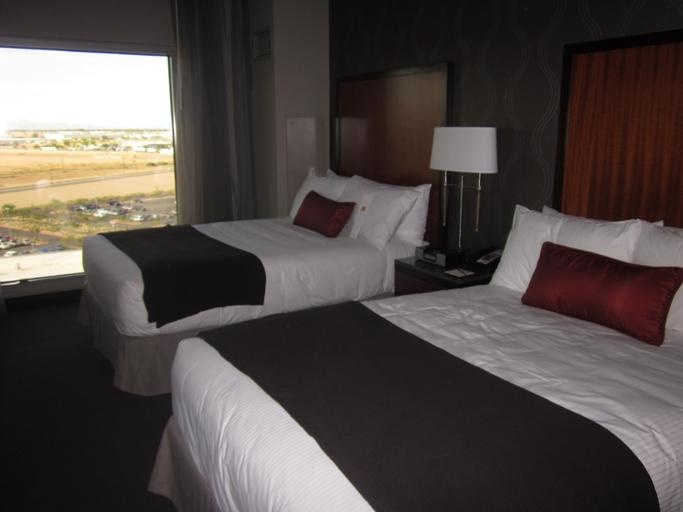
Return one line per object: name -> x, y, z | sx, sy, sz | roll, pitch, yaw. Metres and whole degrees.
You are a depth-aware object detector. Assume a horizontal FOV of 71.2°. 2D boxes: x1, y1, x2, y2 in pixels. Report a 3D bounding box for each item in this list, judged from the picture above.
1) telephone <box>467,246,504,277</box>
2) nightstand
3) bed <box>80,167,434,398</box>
telephone -> 1.152, 0.031, 3.774 | 0.218, 0.093, 0.209 | -24, 29, -36
nightstand -> 0.851, 0.045, 3.768 | 0.459, 0.302, 0.464 | -9, 17, -34
bed -> -0.787, 0.112, 4.059 | 2.253, 1.193, 1.893 | -5, 13, -32
